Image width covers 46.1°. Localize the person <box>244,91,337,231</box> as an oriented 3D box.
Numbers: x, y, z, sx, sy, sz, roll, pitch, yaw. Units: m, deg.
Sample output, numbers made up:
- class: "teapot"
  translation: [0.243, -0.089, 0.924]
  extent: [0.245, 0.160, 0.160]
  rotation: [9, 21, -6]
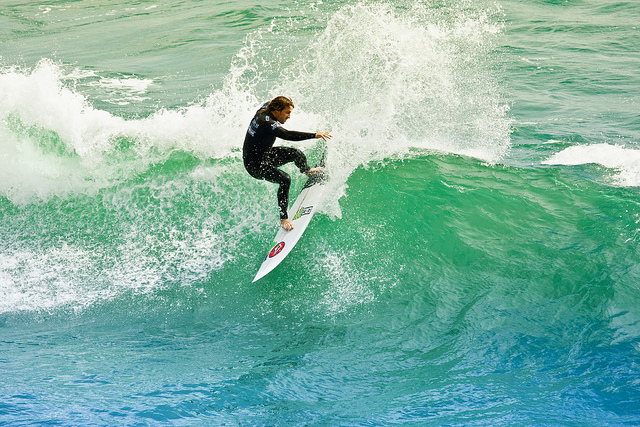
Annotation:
- class: "person"
  translation: [-0.688, -1.038, 15.819]
  extent: [1.600, 2.836, 0.957]
  rotation: [-4, 25, -30]
